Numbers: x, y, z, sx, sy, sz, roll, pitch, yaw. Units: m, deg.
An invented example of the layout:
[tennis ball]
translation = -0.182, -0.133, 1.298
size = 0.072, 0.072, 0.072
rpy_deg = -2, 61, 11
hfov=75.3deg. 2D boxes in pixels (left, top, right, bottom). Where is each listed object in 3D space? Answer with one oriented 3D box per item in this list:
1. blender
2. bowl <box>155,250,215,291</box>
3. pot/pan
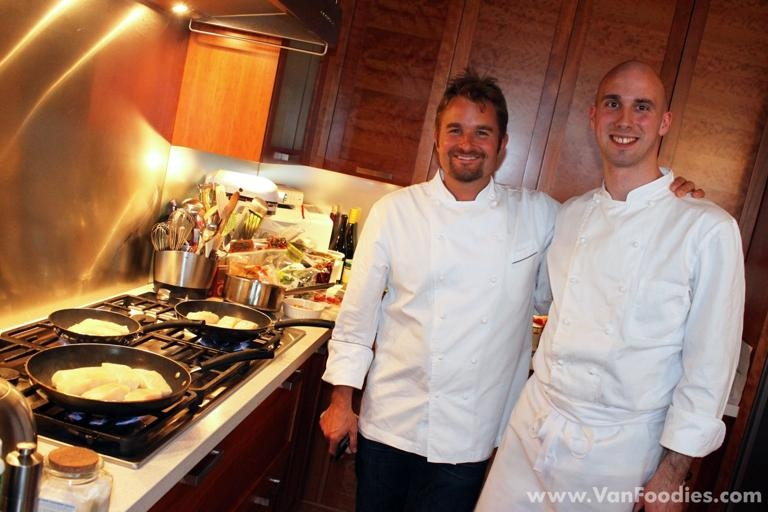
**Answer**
[blender]
translation = -0.649, -0.291, 2.342
size = 0.285, 0.117, 0.195
rpy_deg = 9, 4, 0
[bowl]
translation = -0.834, 0.070, 2.017
size = 0.223, 0.118, 0.258
rpy_deg = 7, -10, -12
[pot/pan]
translation = -0.599, 0.218, 1.295
size = 0.282, 0.068, 0.515
rpy_deg = 20, 12, 40
